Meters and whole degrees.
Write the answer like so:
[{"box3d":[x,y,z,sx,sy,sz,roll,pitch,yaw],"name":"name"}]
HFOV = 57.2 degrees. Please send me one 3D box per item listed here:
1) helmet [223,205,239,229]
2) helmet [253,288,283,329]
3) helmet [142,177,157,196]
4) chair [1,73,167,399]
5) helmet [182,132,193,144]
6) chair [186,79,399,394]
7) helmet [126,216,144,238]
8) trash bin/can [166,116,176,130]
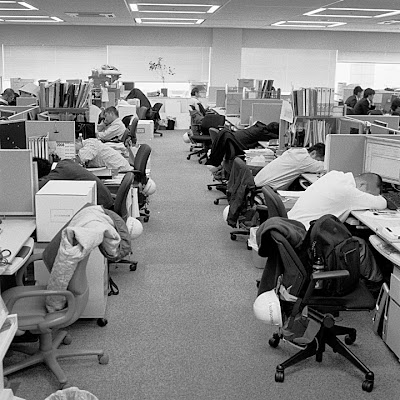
[{"box3d":[0.326,0.209,3.963,0.087,0.254,0.240,5,31,-9],"name":"helmet"},{"box3d":[0.368,0.581,1.963,0.149,0.173,0.186,3,11,14],"name":"helmet"},{"box3d":[-0.639,-0.165,4.661,0.185,0.208,0.143,15,-3,-33],"name":"helmet"},{"box3d":[-0.833,0.322,2.406,0.768,1.414,0.819,0,15,-35],"name":"chair"},{"box3d":[-0.305,-1.527,9.009,0.313,0.356,0.260,-1,12,9],"name":"helmet"},{"box3d":[0.499,0.280,2.402,0.808,1.521,0.905,-3,15,1],"name":"chair"},{"box3d":[-0.556,0.235,3.240,0.131,0.196,0.188,9,15,5],"name":"helmet"},{"box3d":[-0.960,-2.694,12.837,0.336,0.621,0.389,-5,20,-14],"name":"trash bin/can"}]
